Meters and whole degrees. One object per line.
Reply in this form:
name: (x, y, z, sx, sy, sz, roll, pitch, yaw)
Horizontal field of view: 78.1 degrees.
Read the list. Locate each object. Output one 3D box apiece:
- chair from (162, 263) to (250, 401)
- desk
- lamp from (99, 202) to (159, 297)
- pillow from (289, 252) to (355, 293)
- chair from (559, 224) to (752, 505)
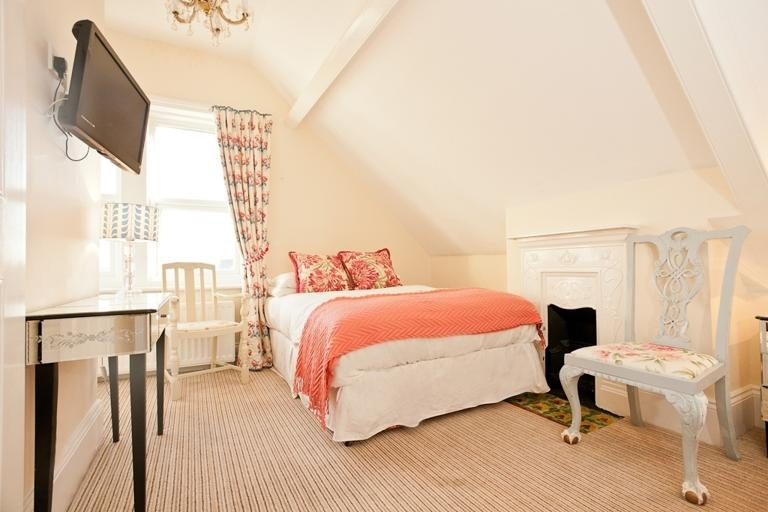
chair: (-1.632, 0.585, 4.208, 0.848, 1.031, 0.817, 1, 1, 9)
desk: (-1.649, 0.853, 2.710, 0.584, 1.023, 1.307, -1, 1, -19)
lamp: (-2.025, -0.102, 3.795, 0.393, 0.793, 1.129, -2, -3, -28)
pillow: (-0.618, 0.178, 4.738, 0.654, 0.540, 0.177, 2, -23, -29)
chair: (1.829, 0.616, 3.118, 1.018, 1.737, 0.844, -2, -3, -30)
